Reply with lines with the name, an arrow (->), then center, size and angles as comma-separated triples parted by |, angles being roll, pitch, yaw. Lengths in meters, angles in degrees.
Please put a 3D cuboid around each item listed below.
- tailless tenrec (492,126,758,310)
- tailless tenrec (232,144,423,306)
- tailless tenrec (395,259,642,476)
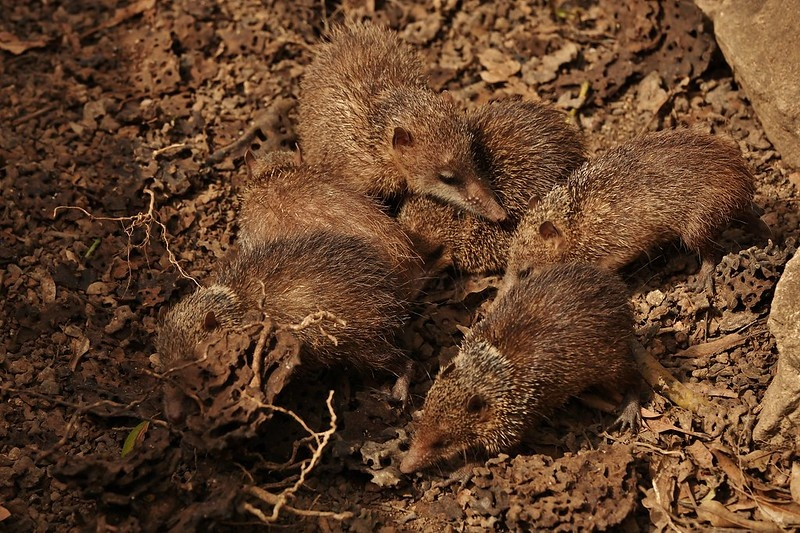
tailless tenrec -> 2.881, -0.716, 10.729 | 3.204, 1.718, 1.681 | -26, -45, 26
tailless tenrec -> -0.985, -0.528, 10.502 | 1.517, 2.579, 1.389 | -35, 6, 28
tailless tenrec -> 1.417, 1.091, 9.519 | 2.950, 1.688, 0.652 | -26, -12, -5
